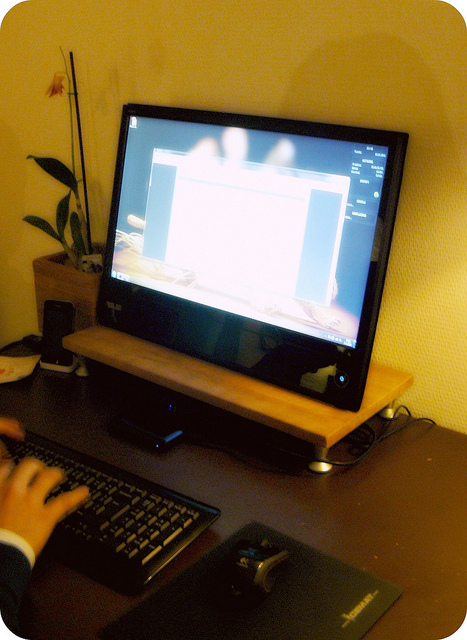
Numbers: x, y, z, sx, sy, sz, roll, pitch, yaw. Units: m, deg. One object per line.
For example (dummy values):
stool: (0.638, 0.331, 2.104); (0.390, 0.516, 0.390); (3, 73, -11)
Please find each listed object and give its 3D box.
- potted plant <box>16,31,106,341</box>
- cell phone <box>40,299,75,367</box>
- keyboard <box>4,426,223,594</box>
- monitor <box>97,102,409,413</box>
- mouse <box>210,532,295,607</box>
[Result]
potted plant: (-0.332, -0.238, 1.049); (0.206, 0.518, 0.195); (-6, 17, -38)
cell phone: (-0.325, 0.022, 0.977); (0.062, 0.109, 0.080); (-1, 15, -16)
keyboard: (-0.122, 0.212, 0.563); (0.204, 0.028, 0.112); (18, 37, 35)
monitor: (0.001, -0.120, 0.800); (0.475, 0.359, 0.068); (17, 21, 31)
mouse: (0.019, 0.229, 0.512); (0.059, 0.048, 0.048); (-2, 10, 43)
